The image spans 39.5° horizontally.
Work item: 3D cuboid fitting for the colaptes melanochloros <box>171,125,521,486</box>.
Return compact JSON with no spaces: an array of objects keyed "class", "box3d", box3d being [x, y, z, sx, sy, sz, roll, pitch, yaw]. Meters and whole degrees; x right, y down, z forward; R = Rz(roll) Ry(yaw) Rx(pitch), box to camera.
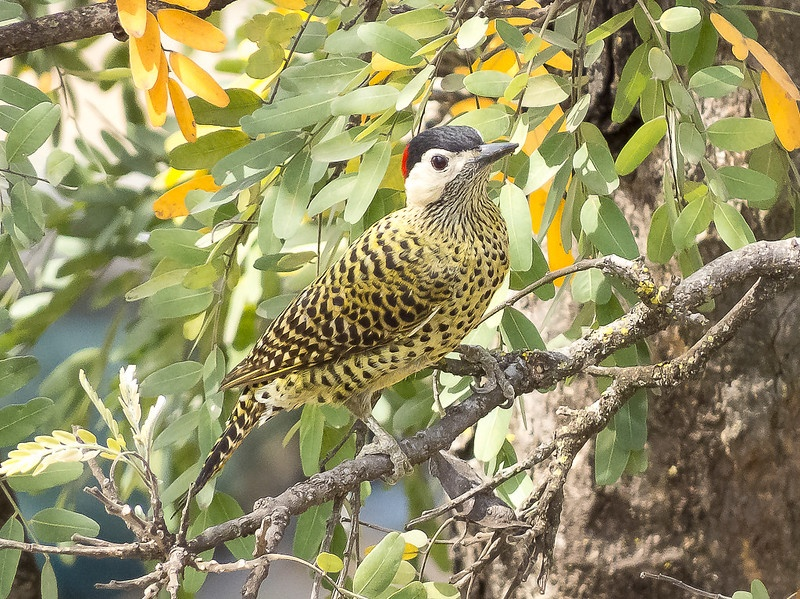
[{"class":"colaptes melanochloros","box3d":[-0.065,0.046,4.423,1.386,1.295,0.376,-14,-10,13]}]
